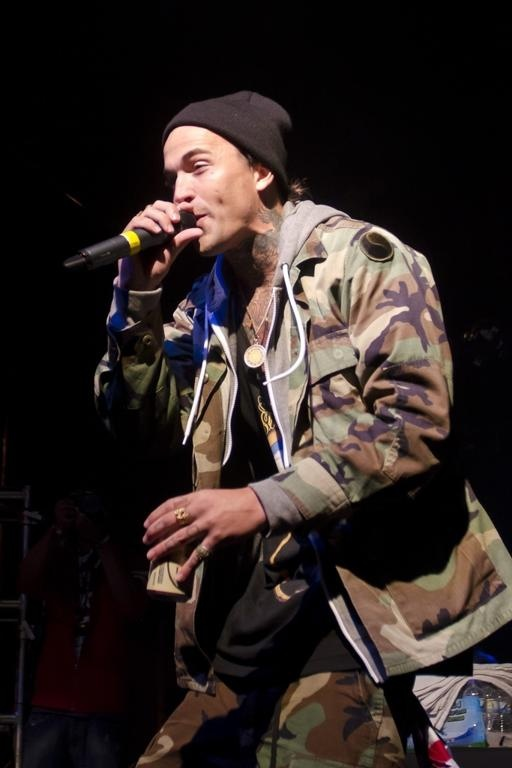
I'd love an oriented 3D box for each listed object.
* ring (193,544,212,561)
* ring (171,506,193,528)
[{"bbox_3d":[-0.089,0.272,1.221,0.026,0.017,0.032,2,-6,0],"label":"ring"},{"bbox_3d":[-0.121,0.214,1.215,0.030,0.027,0.010,27,22,20],"label":"ring"}]
